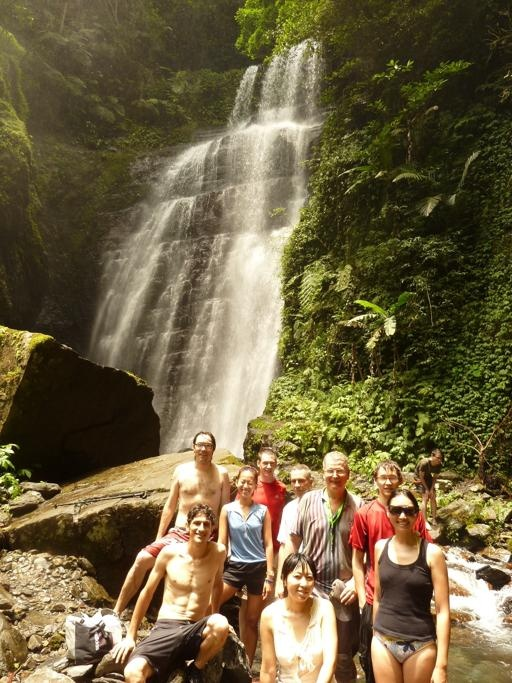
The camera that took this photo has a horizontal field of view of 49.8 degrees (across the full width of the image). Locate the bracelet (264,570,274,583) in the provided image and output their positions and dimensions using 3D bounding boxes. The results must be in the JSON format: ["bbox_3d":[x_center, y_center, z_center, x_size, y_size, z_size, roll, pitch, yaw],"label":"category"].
[{"bbox_3d":[0.098,1.803,4.223,0.059,0.072,0.026,1,-42,13],"label":"bracelet"}]

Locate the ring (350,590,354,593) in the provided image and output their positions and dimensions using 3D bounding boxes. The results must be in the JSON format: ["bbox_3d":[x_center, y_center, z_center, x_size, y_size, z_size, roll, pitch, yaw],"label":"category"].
[{"bbox_3d":[0.601,1.561,3.439,0.016,0.032,0.016,0,-10,0],"label":"ring"}]
